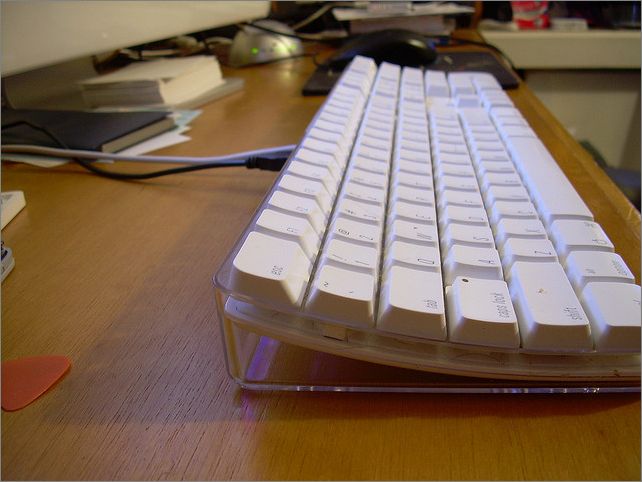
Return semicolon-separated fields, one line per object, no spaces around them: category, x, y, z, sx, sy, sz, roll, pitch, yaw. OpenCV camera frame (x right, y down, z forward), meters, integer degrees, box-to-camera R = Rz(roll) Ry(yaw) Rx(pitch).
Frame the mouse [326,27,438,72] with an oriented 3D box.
mouse;0.108;-0.297;0.796;0.140;0.044;0.078;8;39;-5
